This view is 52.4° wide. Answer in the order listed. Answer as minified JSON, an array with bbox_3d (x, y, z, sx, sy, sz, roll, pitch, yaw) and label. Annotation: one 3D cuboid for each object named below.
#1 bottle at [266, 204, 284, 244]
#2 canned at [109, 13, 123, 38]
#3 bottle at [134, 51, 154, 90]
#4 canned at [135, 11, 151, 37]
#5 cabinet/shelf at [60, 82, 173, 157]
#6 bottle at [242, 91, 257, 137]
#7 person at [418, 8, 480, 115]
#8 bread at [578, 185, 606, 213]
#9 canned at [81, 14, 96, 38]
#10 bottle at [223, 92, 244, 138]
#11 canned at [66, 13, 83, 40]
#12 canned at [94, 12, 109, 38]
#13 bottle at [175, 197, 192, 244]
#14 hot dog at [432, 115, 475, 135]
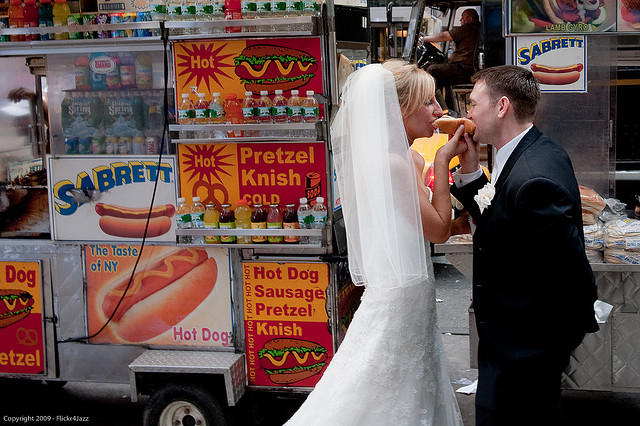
[{"bbox_3d":[-0.342,0.087,5.019,0.126,0.298,0.126,-3,10,1],"label":"bottle"},{"bbox_3d":[-1.629,-1.518,5.215,0.123,0.200,0.077,-2,10,3],"label":"canned"},{"bbox_3d":[-1.496,-1.211,5.507,0.161,0.298,0.065,-4,10,-8],"label":"bottle"},{"bbox_3d":[-1.419,-1.515,5.157,0.116,0.210,0.051,-1,-10,-1],"label":"canned"},{"bbox_3d":[-1.811,-0.785,5.712,1.033,0.650,0.564,0,2,7],"label":"cabinet/shelf"},{"bbox_3d":[-0.534,-0.751,5.001,0.117,0.377,0.123,-4,16,1],"label":"bottle"},{"bbox_3d":[2.081,-2.581,10.681,0.999,1.764,0.728,13,8,15],"label":"person"},{"bbox_3d":[2.180,-0.109,5.177,0.250,0.072,0.198,14,49,10],"label":"bread"},{"bbox_3d":[-1.874,-1.519,5.257,0.138,0.204,0.083,2,11,24],"label":"canned"},{"bbox_3d":[-0.682,-0.781,5.051,0.147,0.440,0.123,-7,53,-8],"label":"bottle"},{"bbox_3d":[-1.985,-1.523,5.269,0.122,0.205,0.133,-6,10,-17],"label":"canned"},{"bbox_3d":[-1.752,-1.519,5.236,0.108,0.207,0.068,-4,10,-5],"label":"canned"},{"bbox_3d":[-1.084,0.070,5.159,0.129,0.375,0.124,-3,2,0],"label":"bottle"},{"bbox_3d":[0.849,-0.550,4.074,0.203,0.081,0.108,1,-22,33],"label":"hot dog"}]
